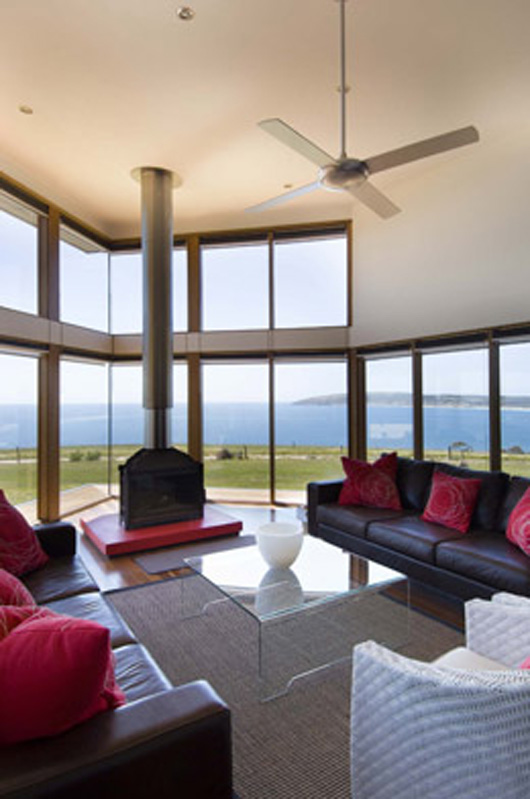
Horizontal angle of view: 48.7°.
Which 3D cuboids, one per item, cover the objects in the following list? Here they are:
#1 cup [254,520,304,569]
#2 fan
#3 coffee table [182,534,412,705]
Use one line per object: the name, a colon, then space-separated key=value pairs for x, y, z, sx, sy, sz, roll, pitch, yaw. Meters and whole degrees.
cup: x=0.069 y=0.760 z=3.161 sx=0.228 sy=0.184 sz=0.232 roll=-1 pitch=-3 yaw=0
fan: x=0.489 y=-1.626 z=3.300 sx=1.079 sy=0.891 sz=1.299 roll=-1 pitch=2 yaw=-2
coffee table: x=0.151 y=1.044 z=3.014 sx=0.658 sy=0.286 sz=0.653 roll=-2 pitch=-1 yaw=-33
